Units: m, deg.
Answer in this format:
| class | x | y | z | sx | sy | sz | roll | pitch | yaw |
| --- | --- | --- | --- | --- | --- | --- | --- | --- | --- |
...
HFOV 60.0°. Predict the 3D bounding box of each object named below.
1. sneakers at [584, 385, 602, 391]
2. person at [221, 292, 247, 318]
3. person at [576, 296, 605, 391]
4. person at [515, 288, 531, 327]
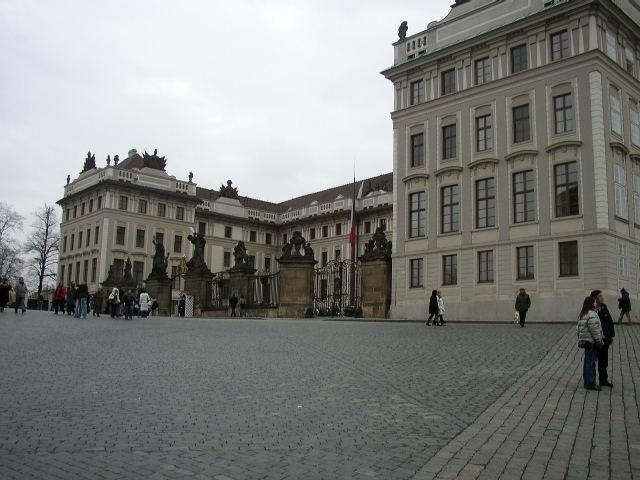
| class | x | y | z | sx | sy | sz | roll | pitch | yaw |
| --- | --- | --- | --- | --- | --- | --- | --- | --- | --- |
| sneakers | 4.448 | 2.418 | 9.034 | 0.235 | 0.114 | 0.091 | -1 | -6 | -4 |
| person | -5.602 | 4.400 | 37.475 | 1.136 | 1.548 | 1.017 | 1 | -4 | 3 |
| person | 4.636 | 1.741 | 9.494 | 0.411 | 1.494 | 0.984 | -1 | -4 | 27 |
| person | 9.232 | 3.081 | 25.267 | 0.537 | 1.651 | 2.628 | 0 | -4 | 21 |
